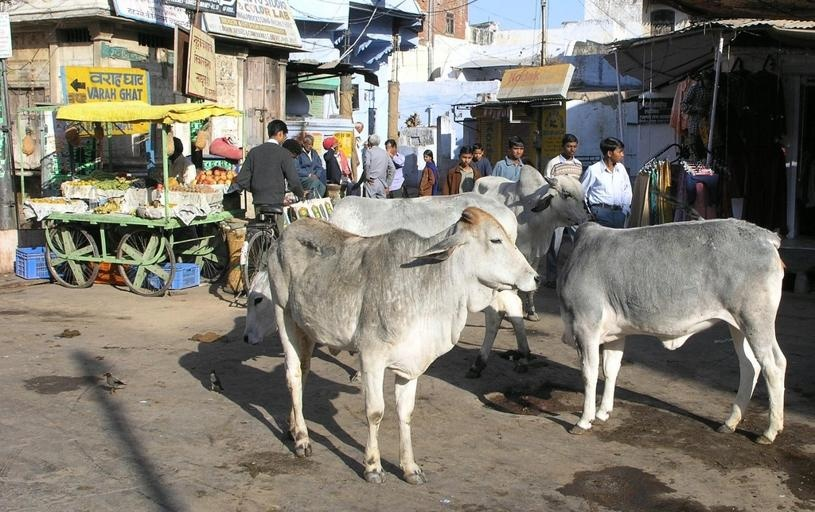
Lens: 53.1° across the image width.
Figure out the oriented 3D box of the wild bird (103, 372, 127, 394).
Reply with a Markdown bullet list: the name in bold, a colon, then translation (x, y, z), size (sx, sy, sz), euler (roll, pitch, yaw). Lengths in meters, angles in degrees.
- **wild bird**: translation (-3.374, 1.470, 9.421), size (0.146, 0.210, 0.306), euler (-5, -7, 27)

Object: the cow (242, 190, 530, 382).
- **cow**: translation (-0.607, 0.159, 10.334), size (4.846, 2.918, 1.497), euler (1, -3, 5)
